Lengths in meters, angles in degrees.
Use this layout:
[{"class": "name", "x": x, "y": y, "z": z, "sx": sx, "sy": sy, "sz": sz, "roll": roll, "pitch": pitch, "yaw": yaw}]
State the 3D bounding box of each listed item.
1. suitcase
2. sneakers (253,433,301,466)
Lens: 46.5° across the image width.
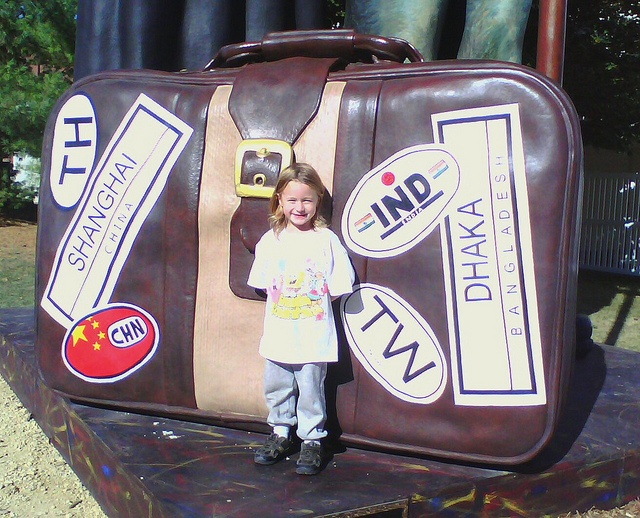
[{"class": "suitcase", "x": -0.026, "y": 0.000, "z": 1.745, "sx": 1.046, "sy": 0.789, "sz": 0.391, "roll": 3, "pitch": 5, "yaw": 15}, {"class": "sneakers", "x": -0.099, "y": 0.432, "z": 1.692, "sx": 0.043, "sy": 0.051, "sz": 0.121, "roll": -2, "pitch": -1, "yaw": 37}]
